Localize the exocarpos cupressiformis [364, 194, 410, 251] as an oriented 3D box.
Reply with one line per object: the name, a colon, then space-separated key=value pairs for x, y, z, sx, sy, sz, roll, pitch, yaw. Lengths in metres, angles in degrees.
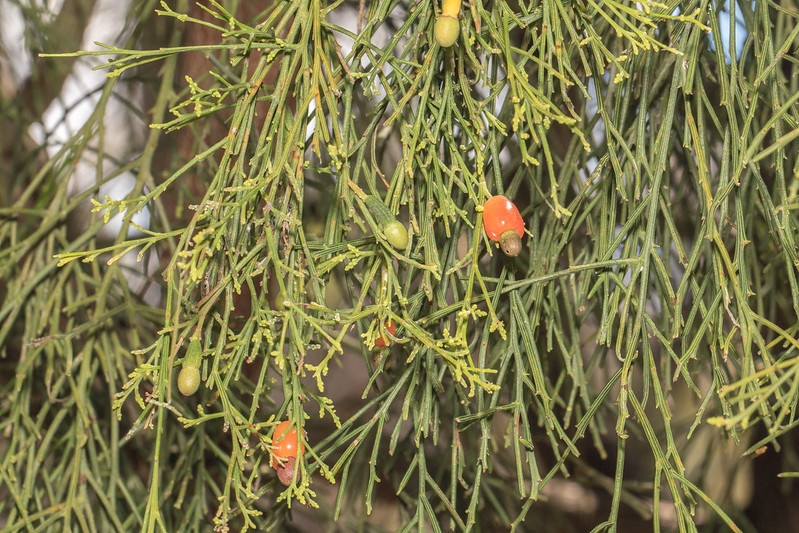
exocarpos cupressiformis: x=-0.012 y=-0.051 z=1.094 sx=0.034 sy=0.085 sz=0.030 roll=-38 pitch=-13 yaw=25

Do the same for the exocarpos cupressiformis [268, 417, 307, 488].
exocarpos cupressiformis: x=-0.134 y=0.224 z=1.114 sx=0.030 sy=0.078 sz=0.042 roll=-3 pitch=-28 yaw=5

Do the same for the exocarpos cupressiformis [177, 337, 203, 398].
exocarpos cupressiformis: x=-0.248 y=0.124 z=1.124 sx=0.025 sy=0.073 sz=0.025 roll=-1 pitch=-13 yaw=39
